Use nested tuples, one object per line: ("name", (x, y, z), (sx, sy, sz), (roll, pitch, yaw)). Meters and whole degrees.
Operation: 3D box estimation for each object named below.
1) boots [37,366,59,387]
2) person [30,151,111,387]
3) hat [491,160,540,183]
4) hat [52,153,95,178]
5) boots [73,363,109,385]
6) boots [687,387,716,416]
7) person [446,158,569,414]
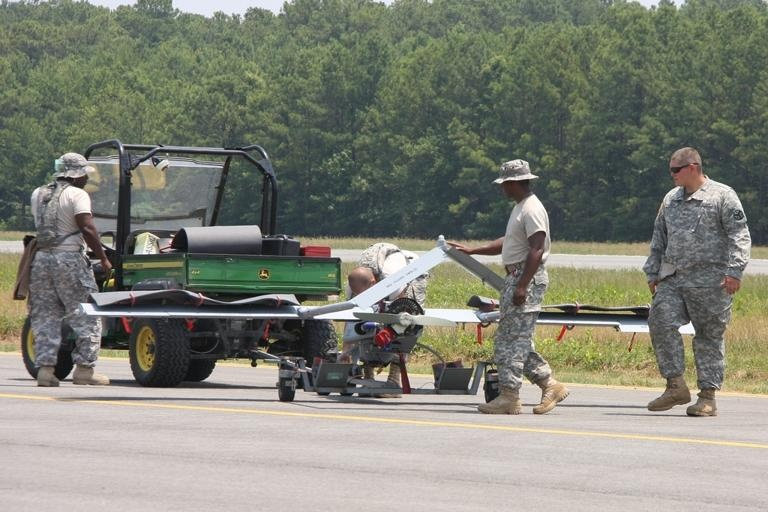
("boots", (-5.482, 2.010, 24.712), (0.443, 0.362, 0.233), (-3, 7, -37))
("person", (-5.160, 0.216, 24.670), (1.205, 3.890, 0.807), (2, -1, -11))
("hat", (1.951, -1.310, 23.368), (0.678, 0.283, 0.623), (-3, 0, -45))
("hat", (-5.105, -1.501, 25.049), (0.555, 0.234, 0.521), (0, 0, 3))
("boots", (-4.858, 2.006, 25.216), (0.792, 0.447, 0.248), (-2, 5, -24))
("boots", (4.937, 2.280, 23.282), (0.456, 0.428, 0.229), (1, -1, 9))
("person", (2.124, 0.474, 23.162), (1.128, 3.959, 0.627), (1, -1, 3))
